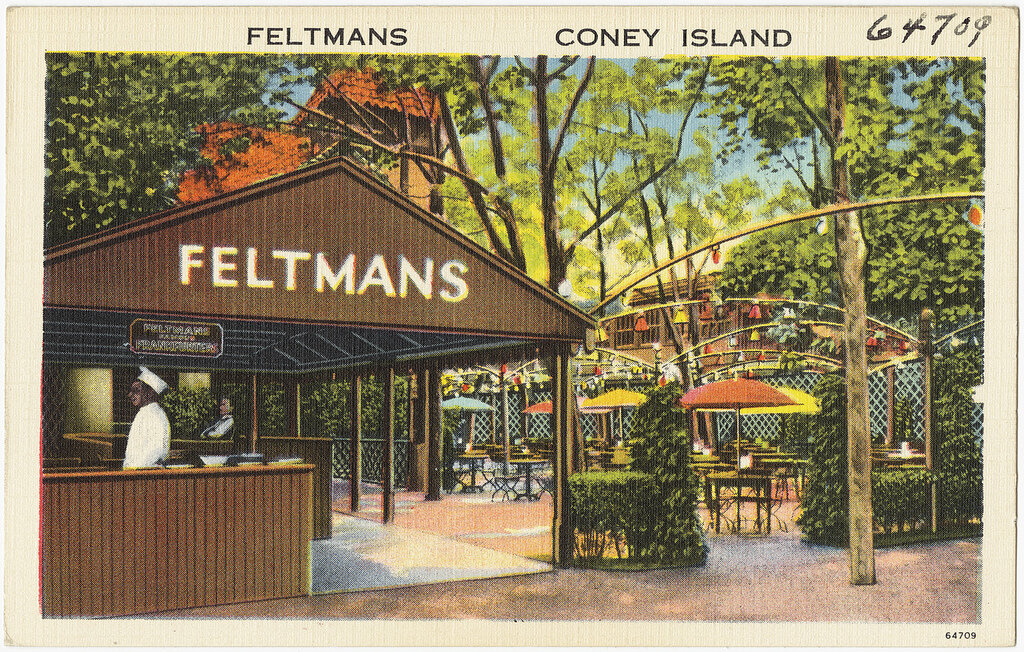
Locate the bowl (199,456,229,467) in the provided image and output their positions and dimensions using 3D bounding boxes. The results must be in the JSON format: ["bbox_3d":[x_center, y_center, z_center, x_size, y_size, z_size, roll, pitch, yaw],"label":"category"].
[{"bbox_3d":[-4.230,1.891,21.245,0.362,0.104,0.374,1,9,0],"label":"bowl"}]
